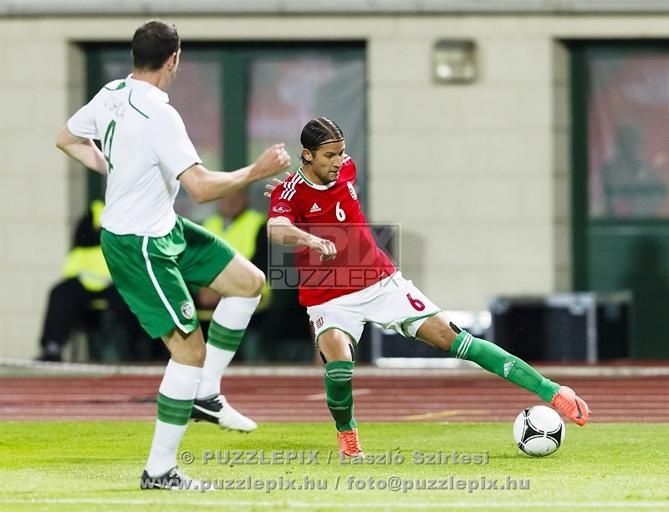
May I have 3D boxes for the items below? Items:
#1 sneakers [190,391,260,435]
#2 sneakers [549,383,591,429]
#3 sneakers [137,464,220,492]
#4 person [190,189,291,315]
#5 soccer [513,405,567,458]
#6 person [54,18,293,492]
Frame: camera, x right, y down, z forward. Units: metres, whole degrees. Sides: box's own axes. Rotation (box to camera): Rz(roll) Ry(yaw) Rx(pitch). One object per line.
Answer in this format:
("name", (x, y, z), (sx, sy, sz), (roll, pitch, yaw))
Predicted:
("sneakers", (-0.672, 0.921, 7.299), (0.473, 0.223, 0.156), (11, 6, 31))
("sneakers", (1.418, 0.879, 7.203), (0.285, 0.167, 0.072), (45, 14, 16))
("sneakers", (-0.867, 1.223, 6.771), (0.433, 0.161, 0.148), (1, -6, -3))
("person", (-0.799, -0.115, 10.153), (0.283, 1.021, 0.819), (17, 20, 39))
("soccer", (1.255, 1.038, 7.342), (0.281, 0.287, 0.289), (21, -23, 26))
("person", (-0.938, -0.008, 6.895), (1.160, 2.555, 0.756), (-1, 1, -14))
